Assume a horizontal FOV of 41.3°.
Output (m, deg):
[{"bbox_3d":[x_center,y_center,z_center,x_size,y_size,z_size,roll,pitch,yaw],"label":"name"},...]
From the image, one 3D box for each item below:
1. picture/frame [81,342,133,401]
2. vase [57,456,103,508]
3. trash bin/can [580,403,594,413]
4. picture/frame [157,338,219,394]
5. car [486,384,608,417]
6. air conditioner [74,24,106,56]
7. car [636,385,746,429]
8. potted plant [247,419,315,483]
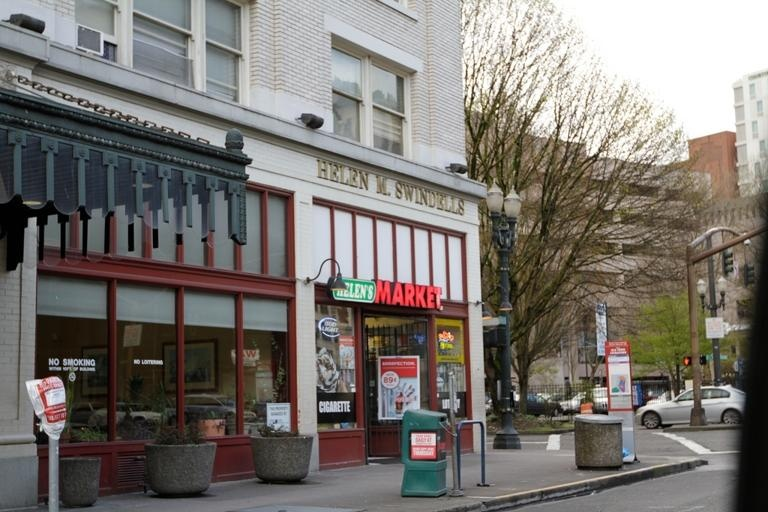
[{"bbox_3d":[-6.106,2.472,21.470,0.710,1.246,0.262,2,-13,-20],"label":"picture/frame"},{"bbox_3d":[-5.935,4.459,19.936,0.758,0.960,0.380,3,-13,-22],"label":"vase"},{"bbox_3d":[4.985,3.790,25.092,0.261,0.315,0.970,-5,-15,9],"label":"trash bin/can"},{"bbox_3d":[-4.393,2.579,23.129,1.316,1.480,0.064,-1,-27,-10],"label":"picture/frame"},{"bbox_3d":[7.264,6.492,45.123,3.241,1.595,0.937,10,24,1],"label":"car"},{"bbox_3d":[-6.414,-4.698,22.206,0.380,0.703,0.769,-10,-16,35],"label":"air conditioner"},{"bbox_3d":[11.849,5.834,38.720,4.651,1.655,2.103,-6,-9,28],"label":"car"},{"bbox_3d":[-2.245,4.469,22.727,1.902,1.611,0.909,1,-1,-9],"label":"potted plant"}]
